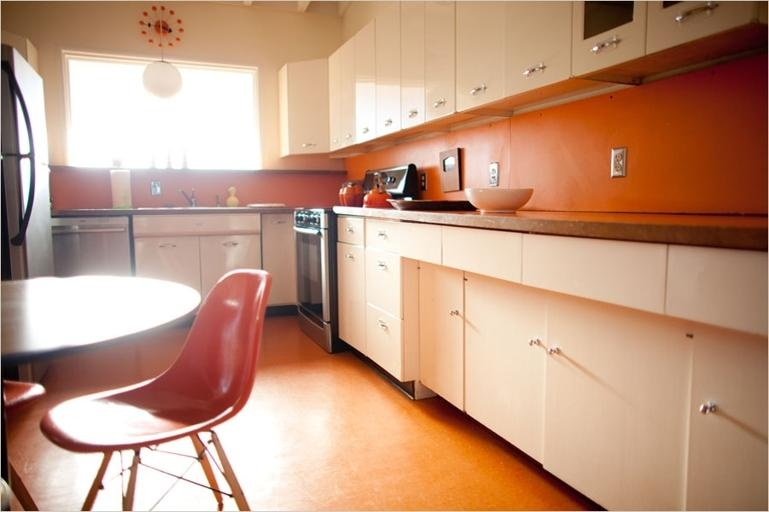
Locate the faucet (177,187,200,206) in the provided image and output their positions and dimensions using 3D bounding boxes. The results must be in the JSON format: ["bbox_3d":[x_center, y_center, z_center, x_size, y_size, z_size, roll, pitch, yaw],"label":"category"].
[{"bbox_3d":[-1.912,-0.570,5.027,0.157,0.159,0.139,-4,14,-14],"label":"faucet"}]

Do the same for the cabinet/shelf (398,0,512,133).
[{"bbox_3d":[0.436,-1.164,3.116,0.328,0.831,0.918,-4,6,-31],"label":"cabinet/shelf"}]

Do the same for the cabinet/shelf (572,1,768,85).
[{"bbox_3d":[1.279,-0.934,2.243,0.368,0.299,0.655,-9,16,-33],"label":"cabinet/shelf"}]

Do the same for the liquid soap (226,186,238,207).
[{"bbox_3d":[-1.518,-0.598,5.136,0.127,0.187,0.174,-5,14,-15],"label":"liquid soap"}]

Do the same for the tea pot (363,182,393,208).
[{"bbox_3d":[-0.042,-0.451,3.810,0.179,0.144,0.180,2,9,0],"label":"tea pot"}]

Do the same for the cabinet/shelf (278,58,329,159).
[{"bbox_3d":[-0.630,-1.395,5.095,0.630,0.838,0.616,-1,4,-9],"label":"cabinet/shelf"}]

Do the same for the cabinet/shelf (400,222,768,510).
[{"bbox_3d":[0.840,0.470,2.129,0.345,0.753,1.286,-1,3,-33],"label":"cabinet/shelf"}]

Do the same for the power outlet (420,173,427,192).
[{"bbox_3d":[0.310,-0.586,4.083,0.015,0.137,0.089,-7,15,-24],"label":"power outlet"}]

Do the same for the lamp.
[{"bbox_3d":[-2.021,-1.878,4.723,0.390,0.859,0.429,-5,15,-18],"label":"lamp"}]
